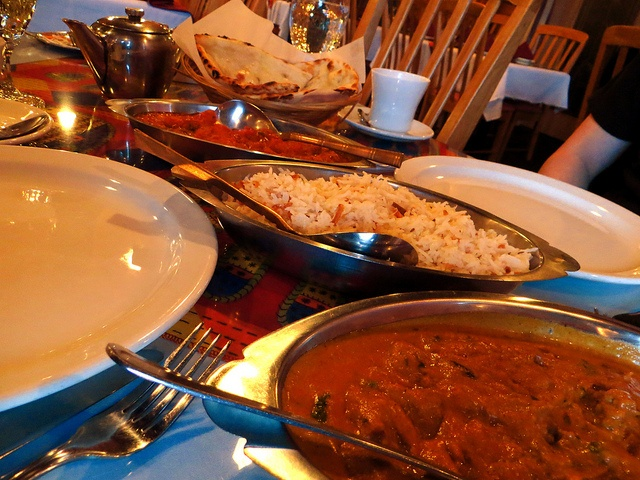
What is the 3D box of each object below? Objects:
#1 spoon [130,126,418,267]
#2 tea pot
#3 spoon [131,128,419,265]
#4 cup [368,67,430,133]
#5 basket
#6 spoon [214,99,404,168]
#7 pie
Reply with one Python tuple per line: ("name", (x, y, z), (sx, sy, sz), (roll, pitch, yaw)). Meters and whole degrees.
("spoon", (-0.089, -0.073, 0.843), (0.546, 0.069, 0.107), (23, 19, 4))
("tea pot", (-0.509, -0.495, 1.306), (0.317, 0.207, 0.223), (1, 31, -26))
("spoon", (-0.086, -0.072, 0.840), (0.533, 0.067, 0.103), (23, 19, 4))
("cup", (0.222, -0.406, 1.479), (0.196, 0.162, 0.192), (11, 18, -4))
("basket", (-0.106, -0.383, 1.362), (0.304, 0.071, 0.273), (-6, 34, -30))
("spoon", (-0.011, -0.228, 1.115), (0.401, 0.085, 0.058), (15, 59, 7))
("pie", (-0.138, -0.562, 1.614), (0.483, 0.134, 0.325), (5, 32, -3))
